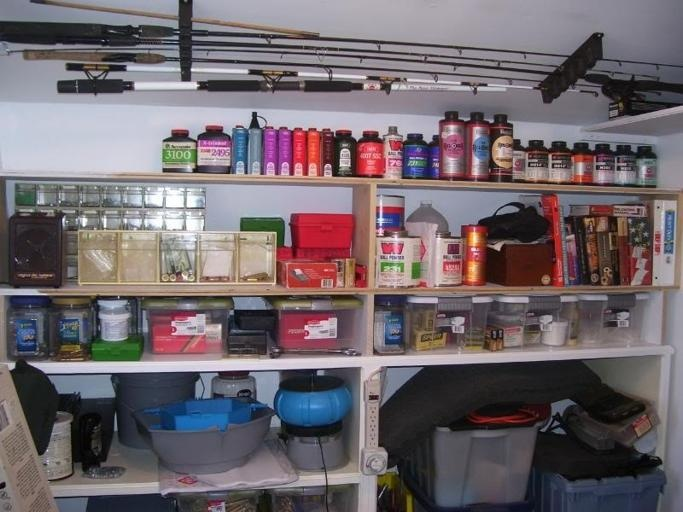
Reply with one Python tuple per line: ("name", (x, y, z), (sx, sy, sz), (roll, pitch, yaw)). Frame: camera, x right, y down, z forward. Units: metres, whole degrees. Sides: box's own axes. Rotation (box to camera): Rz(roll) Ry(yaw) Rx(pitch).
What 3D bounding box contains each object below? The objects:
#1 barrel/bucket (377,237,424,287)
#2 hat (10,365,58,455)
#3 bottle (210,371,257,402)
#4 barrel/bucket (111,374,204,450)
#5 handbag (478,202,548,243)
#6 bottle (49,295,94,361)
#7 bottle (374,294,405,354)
("barrel/bucket", (0.306, 0.033, 3.535), (0.323, 0.274, 0.315), (1, 0, 0))
("hat", (-1.374, 0.670, 2.900), (0.095, 0.329, 0.349), (-13, -9, -20))
("bottle", (-0.595, 0.706, 3.652), (0.197, 0.196, 0.185), (2, 3, 32))
("barrel/bucket", (-0.983, 0.815, 3.651), (0.429, 0.382, 0.450), (0, 3, 0))
("handbag", (0.987, -0.188, 3.685), (0.321, 0.133, 0.241), (-8, 11, -9))
("bottle", (-1.425, 0.363, 3.420), (0.237, 0.319, 0.223), (4, 7, 0))
("bottle", (0.258, 0.400, 3.534), (0.185, 0.251, 0.179), (2, 1, 0))
